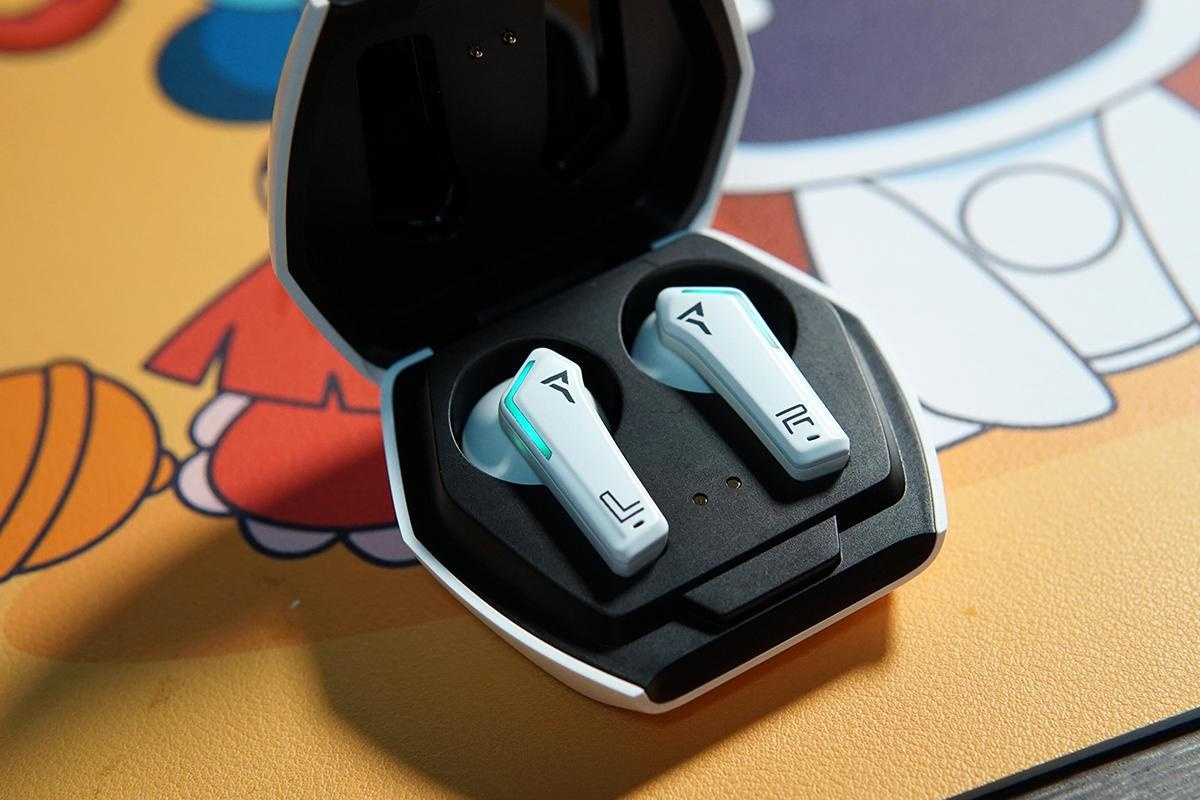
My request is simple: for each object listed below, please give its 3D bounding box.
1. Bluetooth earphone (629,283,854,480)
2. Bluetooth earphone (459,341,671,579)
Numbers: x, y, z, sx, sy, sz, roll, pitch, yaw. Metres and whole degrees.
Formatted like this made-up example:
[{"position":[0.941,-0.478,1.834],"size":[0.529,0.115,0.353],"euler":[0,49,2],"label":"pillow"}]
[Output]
[{"position":[0.115,-0.021,0.938],"size":[0.111,0.045,0.194],"euler":[-25,69,-23],"label":"Bluetooth earphone"},{"position":[-0.025,0.046,0.904],"size":[0.112,0.054,0.200],"euler":[-31,63,-19],"label":"Bluetooth earphone"}]
